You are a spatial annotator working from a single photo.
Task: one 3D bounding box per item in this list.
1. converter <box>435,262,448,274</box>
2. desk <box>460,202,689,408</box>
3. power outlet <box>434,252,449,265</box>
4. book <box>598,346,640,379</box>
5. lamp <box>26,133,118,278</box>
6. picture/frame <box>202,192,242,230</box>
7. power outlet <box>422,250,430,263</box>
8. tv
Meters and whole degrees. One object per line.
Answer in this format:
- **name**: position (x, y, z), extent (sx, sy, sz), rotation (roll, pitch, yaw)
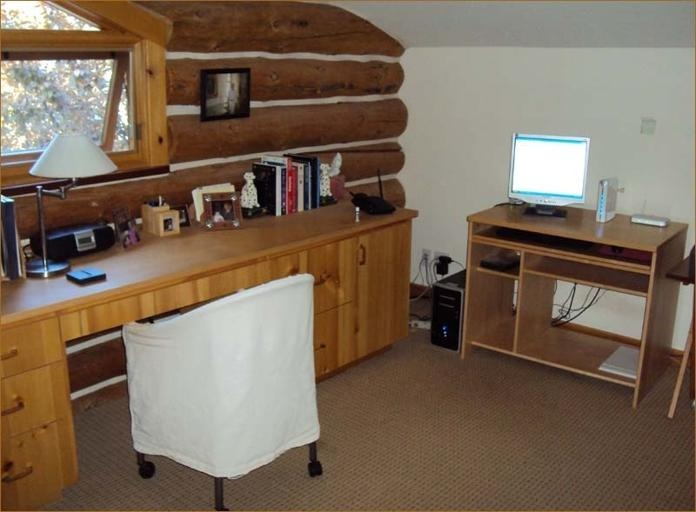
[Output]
- **converter**: position (0.760, 0.102, 4.459), extent (0.086, 0.112, 0.118), rotation (-7, 11, -44)
- **desk**: position (1.429, 0.247, 3.534), extent (1.202, 1.080, 0.637), rotation (8, 17, 30)
- **power outlet**: position (0.755, 0.001, 4.468), extent (0.127, 0.030, 0.084), rotation (-1, 46, 15)
- **book**: position (1.700, 0.659, 3.394), extent (0.154, 0.019, 0.271), rotation (8, 21, 34)
- **lamp**: position (-1.354, -0.276, 2.679), extent (0.423, 0.631, 0.494), rotation (-6, 15, -22)
- **picture/frame**: position (-0.738, -0.264, 3.160), extent (0.218, 0.220, 0.060), rotation (-2, 3, -21)
- **power outlet**: position (0.655, -0.015, 4.584), extent (0.081, 0.078, 0.019), rotation (5, 2, 29)
- **tv**: position (1.276, -0.505, 3.479), extent (0.537, 0.538, 0.193), rotation (9, 23, 25)
